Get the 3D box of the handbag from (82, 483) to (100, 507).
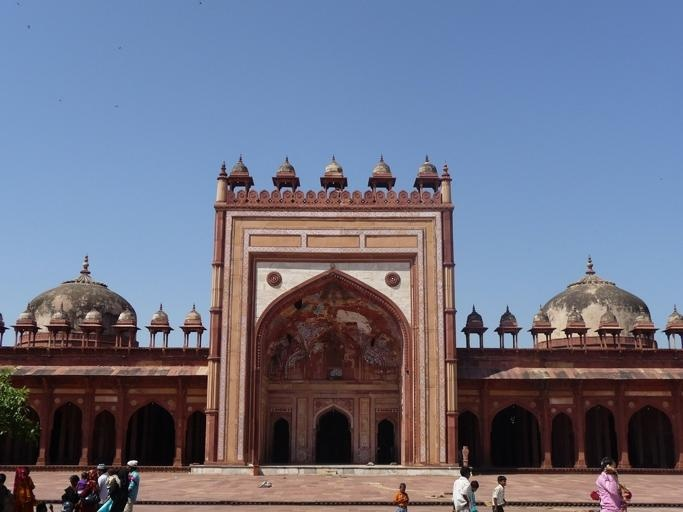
[{"bbox_3d":[-6.149,5.803,29.740,0.488,0.615,0.329,-1,-23,-11],"label":"handbag"}]
